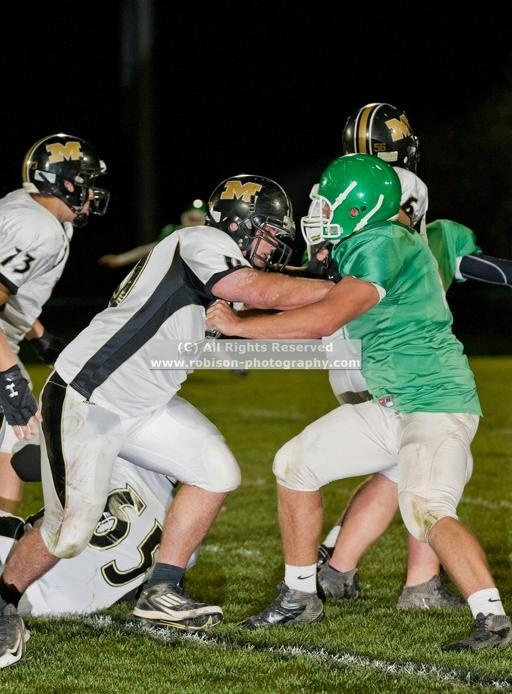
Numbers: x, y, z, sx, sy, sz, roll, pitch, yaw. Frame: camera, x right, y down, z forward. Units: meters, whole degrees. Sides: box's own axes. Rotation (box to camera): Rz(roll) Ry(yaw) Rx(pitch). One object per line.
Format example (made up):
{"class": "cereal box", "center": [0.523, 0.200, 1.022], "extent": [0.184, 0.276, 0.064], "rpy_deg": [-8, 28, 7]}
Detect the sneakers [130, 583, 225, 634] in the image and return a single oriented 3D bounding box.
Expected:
{"class": "sneakers", "center": [-0.249, 0.827, 2.435], "extent": [0.341, 0.132, 0.115], "rpy_deg": [4, -13, 6]}

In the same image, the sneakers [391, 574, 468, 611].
{"class": "sneakers", "center": [0.619, 0.906, 2.802], "extent": [0.318, 0.104, 0.092], "rpy_deg": [0, -9, -4]}

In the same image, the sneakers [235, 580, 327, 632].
{"class": "sneakers", "center": [0.112, 0.864, 2.601], "extent": [0.323, 0.118, 0.101], "rpy_deg": [3, -5, -23]}

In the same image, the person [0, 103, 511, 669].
{"class": "person", "center": [0.186, 0.186, 2.423], "extent": [1.477, 1.464, 1.007], "rpy_deg": [13, 26, 22]}
